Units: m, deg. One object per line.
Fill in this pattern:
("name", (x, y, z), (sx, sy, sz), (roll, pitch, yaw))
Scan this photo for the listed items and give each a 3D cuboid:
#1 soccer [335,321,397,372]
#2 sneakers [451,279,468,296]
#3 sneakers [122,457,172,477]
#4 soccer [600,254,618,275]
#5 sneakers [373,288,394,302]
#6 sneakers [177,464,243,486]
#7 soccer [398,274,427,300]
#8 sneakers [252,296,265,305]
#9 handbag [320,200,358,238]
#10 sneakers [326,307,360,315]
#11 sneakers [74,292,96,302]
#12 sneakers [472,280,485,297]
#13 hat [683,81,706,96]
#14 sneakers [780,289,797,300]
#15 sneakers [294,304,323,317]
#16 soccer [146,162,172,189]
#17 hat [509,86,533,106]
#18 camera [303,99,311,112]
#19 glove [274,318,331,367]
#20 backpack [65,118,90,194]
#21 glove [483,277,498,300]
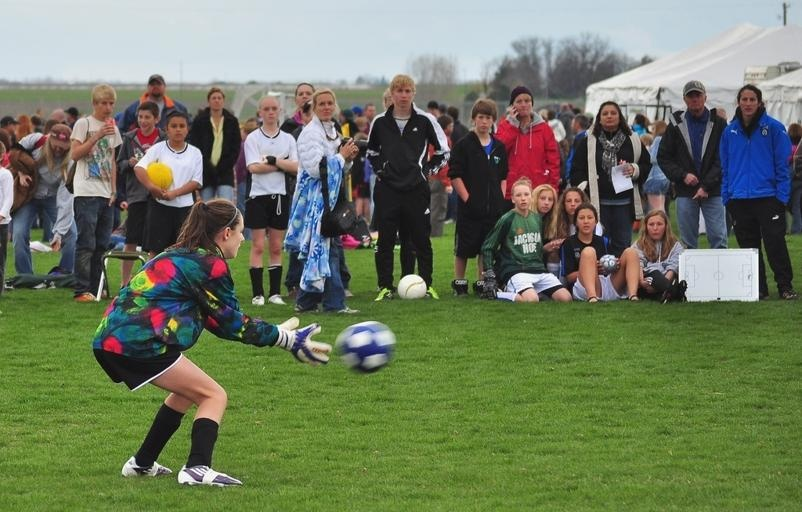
("soccer", (-0.370, 1.002, 16.361), (0.598, 0.415, 0.586), (-5, -1, -32))
("sneakers", (0.869, 0.450, 21.516), (0.196, 0.195, 0.243), (0, -4, -1))
("sneakers", (-2.830, 2.326, 16.332), (0.610, 0.222, 0.197), (1, 0, -8))
("soccer", (2.922, 0.123, 20.829), (0.231, 0.274, 0.222), (0, 2, 7))
("sneakers", (-0.243, 0.557, 21.150), (0.178, 0.113, 0.383), (14, 31, 20))
("sneakers", (-2.091, 2.389, 16.136), (0.684, 0.214, 0.241), (1, -2, -3))
("soccer", (0.150, 0.429, 21.072), (0.365, 0.336, 0.350), (-3, 5, -19))
("sneakers", (-2.005, 0.629, 20.735), (0.156, 0.099, 0.105), (1, 2, 42))
("handbag", (-0.836, -0.480, 19.791), (0.514, 0.502, 0.344), (-7, 37, 24))
("sneakers", (-0.797, 0.747, 20.290), (0.477, 0.177, 0.154), (0, 0, 0))
("sneakers", (-4.513, 0.595, 21.021), (0.259, 0.096, 0.127), (2, 39, 8))
("sneakers", (1.151, 0.464, 21.321), (0.169, 0.209, 0.220), (3, -3, -45))
("hat", (4.194, -2.382, 21.031), (0.258, 0.208, 0.232), (-1, 2, -1))
("sneakers", (5.451, 0.537, 20.747), (0.259, 0.110, 0.107), (-2, 3, 45))
("sneakers", (-1.296, 0.751, 20.335), (0.436, 0.170, 0.142), (-1, 2, -6))
("soccer", (-3.323, -1.097, 20.254), (0.351, 0.377, 0.160), (-1, 2, -9))
("hat", (1.741, -2.314, 21.407), (0.287, 0.254, 0.286), (-2, 14, -13))
("camera", (-1.313, -2.093, 20.633), (0.137, 0.149, 0.167), (-4, -23, -6))
("glove", (-1.064, 0.935, 16.342), (0.648, 0.394, 0.276), (19, 14, -18))
("backpack", (-4.471, -1.380, 20.628), (0.292, 1.106, 0.237), (-1, 2, -12))
("glove", (1.279, 0.455, 21.066), (0.203, 0.312, 0.086), (-1, 2, 1))
